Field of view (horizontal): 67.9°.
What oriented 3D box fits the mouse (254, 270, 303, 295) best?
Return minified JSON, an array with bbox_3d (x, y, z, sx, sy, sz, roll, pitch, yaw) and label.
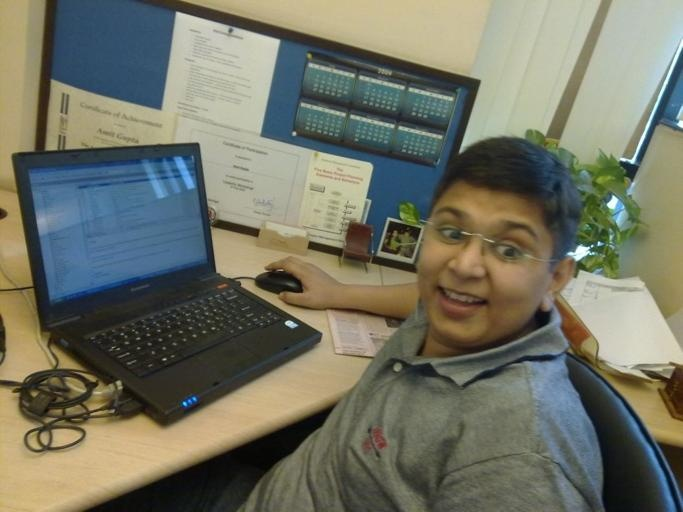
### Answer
[{"bbox_3d":[-0.160,0.068,1.317,0.104,0.032,0.058,7,19,1],"label":"mouse"}]
